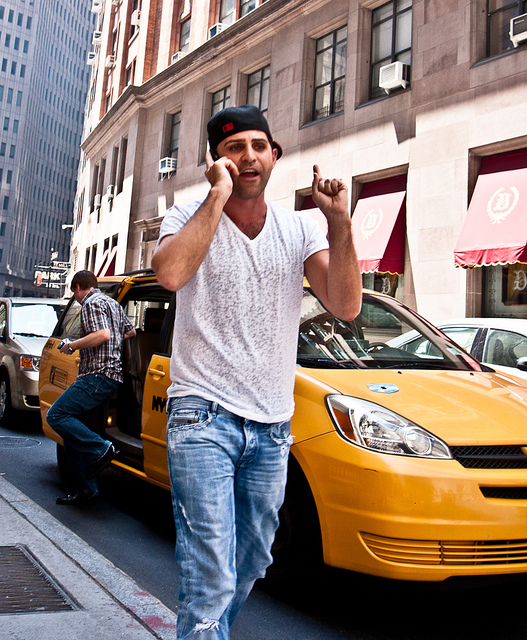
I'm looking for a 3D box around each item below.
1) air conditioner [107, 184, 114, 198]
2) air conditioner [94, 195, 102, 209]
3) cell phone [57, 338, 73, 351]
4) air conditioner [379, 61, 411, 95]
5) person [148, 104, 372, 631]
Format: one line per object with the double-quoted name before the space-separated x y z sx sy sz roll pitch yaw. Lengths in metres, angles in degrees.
"air conditioner" -7.743 -6.668 29.973 0.325 0.597 0.471 10 -7 -20
"air conditioner" -9.433 -6.892 33.686 0.730 0.761 0.227 2 -4 42
"cell phone" -1.743 0.214 5.187 0.049 0.116 0.088 28 8 -32
"air conditioner" 3.169 -5.861 14.003 0.536 0.674 0.677 10 -7 -26
"person" -0.061 0.124 1.550 0.577 1.453 0.381 10 -8 -24
